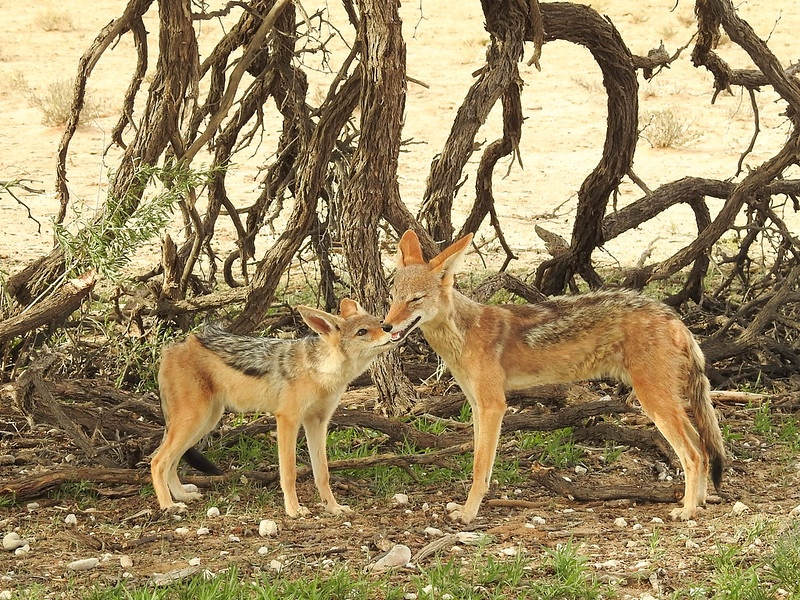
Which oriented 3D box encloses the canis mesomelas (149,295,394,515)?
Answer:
[{"bbox_3d":[-1.044,0.904,9.669,2.364,1.635,0.699,-3,-4,28],"label":"canis mesomelas"}]
